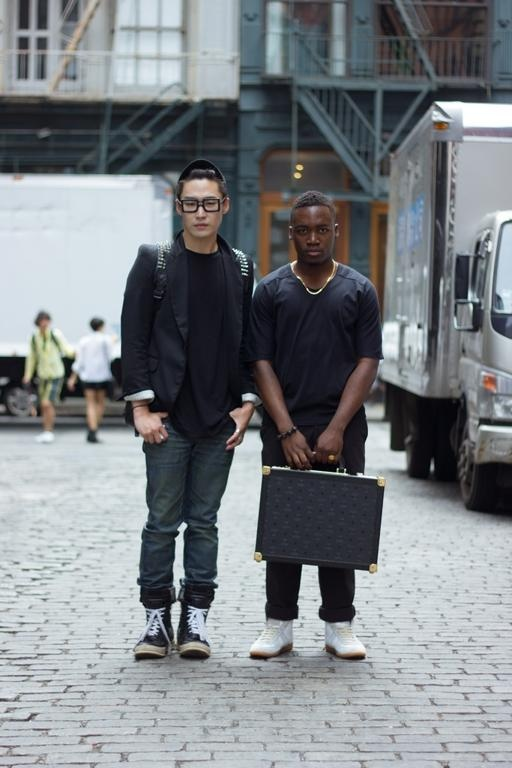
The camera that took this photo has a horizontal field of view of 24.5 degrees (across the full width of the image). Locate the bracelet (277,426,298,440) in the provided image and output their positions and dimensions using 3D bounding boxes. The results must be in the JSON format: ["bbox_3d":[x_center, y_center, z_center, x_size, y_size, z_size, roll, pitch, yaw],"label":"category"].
[{"bbox_3d":[0.119,0.179,4.376,0.048,0.017,0.049,-31,-1,0],"label":"bracelet"}]

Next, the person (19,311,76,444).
[{"bbox_3d":[-2.645,-0.135,14.948,0.566,1.562,1.612,0,6,-9],"label":"person"}]

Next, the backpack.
[{"bbox_3d":[-0.251,-0.193,4.462,0.513,0.731,0.234,0,6,-12],"label":"backpack"}]

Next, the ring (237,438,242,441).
[{"bbox_3d":[-0.059,0.205,4.490,0.004,0.013,0.013,2,1,30],"label":"ring"}]

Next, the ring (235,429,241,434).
[{"bbox_3d":[-0.068,0.173,4.461,0.018,0.018,0.005,4,2,8],"label":"ring"}]

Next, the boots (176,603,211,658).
[{"bbox_3d":[-0.235,0.937,4.514,0.108,0.205,0.311,10,-9,-11],"label":"boots"}]

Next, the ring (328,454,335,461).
[{"bbox_3d":[0.279,0.268,4.360,0.025,0.028,0.017,1,6,-3],"label":"ring"}]

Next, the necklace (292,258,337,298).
[{"bbox_3d":[0.228,-0.391,4.479,0.140,0.148,0.060,0,-13,1],"label":"necklace"}]

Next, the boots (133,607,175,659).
[{"bbox_3d":[-0.388,0.921,4.481,0.116,0.190,0.305,-4,0,9],"label":"boots"}]

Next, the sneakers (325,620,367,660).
[{"bbox_3d":[0.333,0.975,4.486,0.076,0.112,0.238,0,-8,-15],"label":"sneakers"}]
